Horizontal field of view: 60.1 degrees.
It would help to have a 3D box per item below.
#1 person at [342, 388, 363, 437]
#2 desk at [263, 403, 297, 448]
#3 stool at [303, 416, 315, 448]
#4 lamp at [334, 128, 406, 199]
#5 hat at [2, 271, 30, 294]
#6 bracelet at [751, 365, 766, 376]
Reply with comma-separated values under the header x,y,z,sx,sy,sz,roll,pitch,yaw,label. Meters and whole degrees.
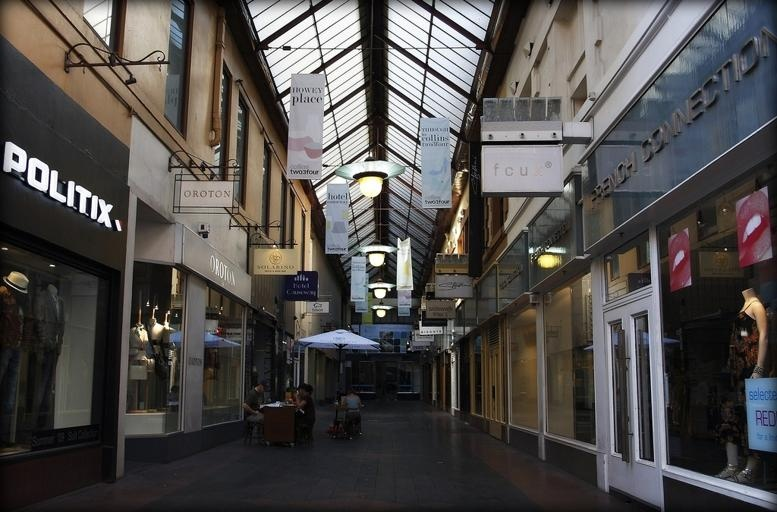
x,y,z,sx,sy,sz,roll,pitch,yaw,label
-1.066,4.469,19.449,0.577,1.375,2.115,2,-7,-4,person
-2.589,4.064,16.556,1.007,1.154,0.799,0,-6,4,desk
-1.973,4.295,16.766,0.245,0.666,0.650,2,-7,-9,stool
-0.442,-2.126,17.692,1.726,0.925,0.813,-2,-8,25,lamp
-5.197,0.369,9.431,0.248,0.096,0.196,41,2,-24,hat
4.318,1.347,7.855,0.093,0.102,0.074,-1,-5,10,bracelet
